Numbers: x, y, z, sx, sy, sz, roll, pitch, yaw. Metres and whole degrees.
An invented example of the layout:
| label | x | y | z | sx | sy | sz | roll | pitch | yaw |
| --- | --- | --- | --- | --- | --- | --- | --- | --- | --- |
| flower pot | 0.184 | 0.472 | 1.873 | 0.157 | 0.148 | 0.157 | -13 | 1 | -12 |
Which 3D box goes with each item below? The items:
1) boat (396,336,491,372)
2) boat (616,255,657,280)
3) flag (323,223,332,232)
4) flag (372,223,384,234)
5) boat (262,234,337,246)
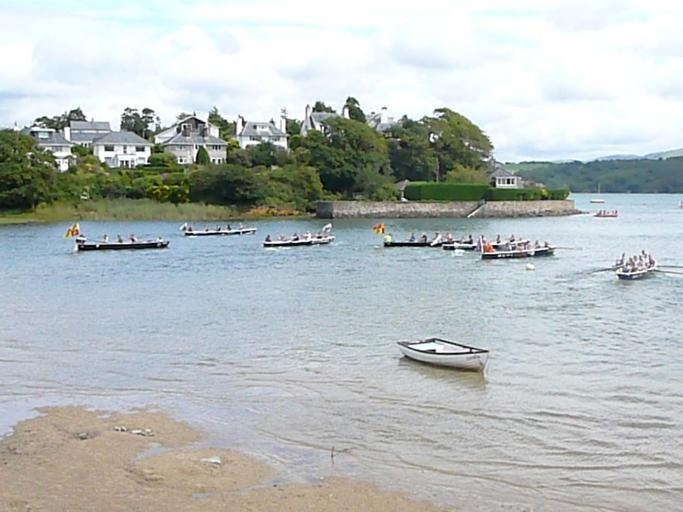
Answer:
| label | x | y | z | sx | sy | sz | roll | pitch | yaw |
| --- | --- | --- | --- | --- | --- | --- | --- | --- | --- |
| boat | 4.705 | 4.672 | 47.485 | 3.951 | 1.053 | 1.715 | 11 | 23 | 43 |
| boat | 20.399 | 0.993 | 70.389 | 1.464 | 1.454 | 5.023 | 9 | 12 | 35 |
| flag | -1.461 | -2.636 | 100.834 | 0.793 | 0.381 | 1.550 | 12 | -29 | -14 |
| flag | 3.748 | -2.531 | 101.929 | 1.066 | 0.579 | 1.364 | 0 | 7 | 1 |
| boat | -3.805 | -1.306 | 92.886 | 3.596 | 0.591 | 1.073 | -7 | 13 | -34 |
